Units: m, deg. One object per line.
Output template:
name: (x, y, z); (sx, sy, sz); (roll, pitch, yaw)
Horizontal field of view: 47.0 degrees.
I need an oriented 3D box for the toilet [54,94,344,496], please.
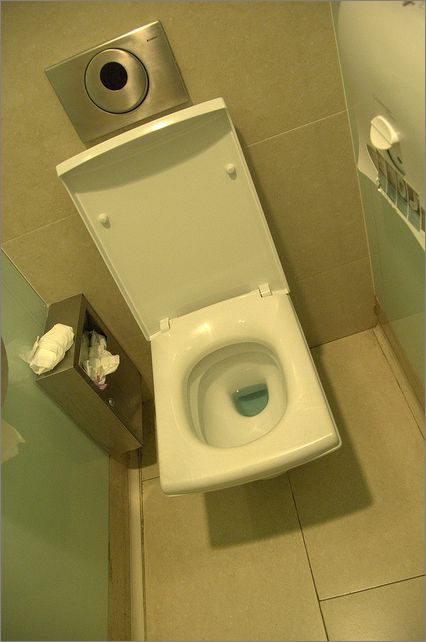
toilet: (0.020, 0.093, 1.067); (0.358, 0.812, 0.475); (-20, 49, 5)
